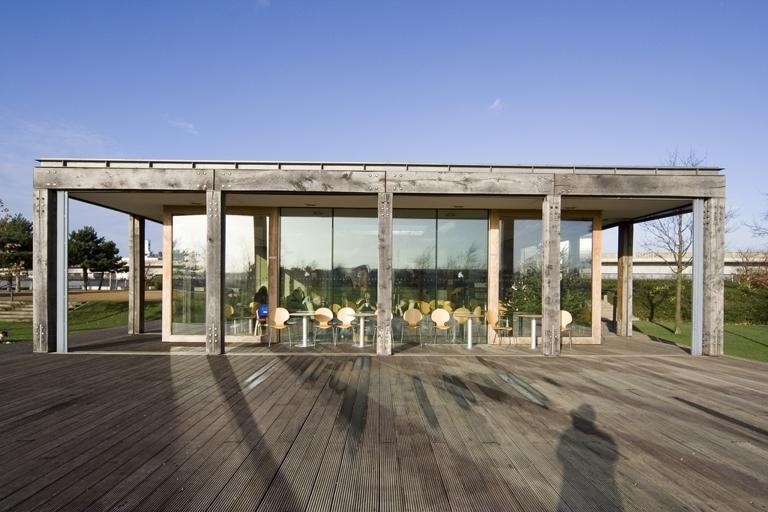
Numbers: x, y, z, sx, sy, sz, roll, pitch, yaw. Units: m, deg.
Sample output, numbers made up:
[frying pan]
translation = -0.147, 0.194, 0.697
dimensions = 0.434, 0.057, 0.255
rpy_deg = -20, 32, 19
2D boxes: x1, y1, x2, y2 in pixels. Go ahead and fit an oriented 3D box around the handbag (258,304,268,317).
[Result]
[handbag]
translation = -4.635, 2.080, 20.945
dimensions = 0.409, 0.448, 0.324
rpy_deg = 3, -6, -9
